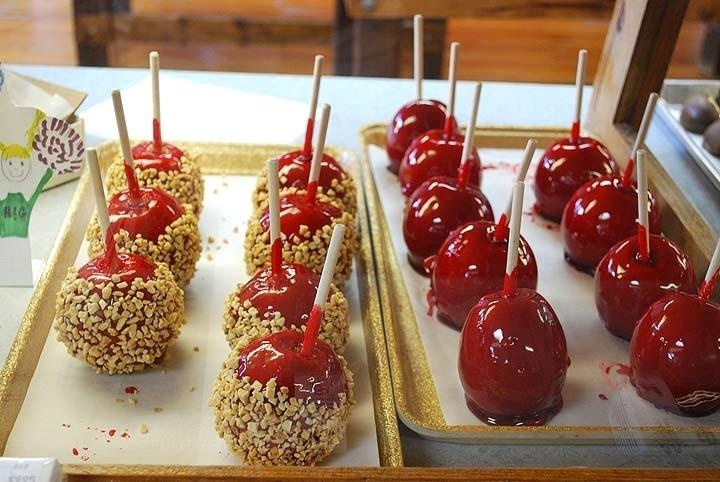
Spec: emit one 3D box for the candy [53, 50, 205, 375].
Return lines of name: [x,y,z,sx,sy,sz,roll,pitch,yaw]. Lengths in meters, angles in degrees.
candy: [-0.342,-0.044,1.017,0.174,0.344,0.331,-1,33,0]

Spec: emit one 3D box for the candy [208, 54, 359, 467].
candy: [-0.104,0.047,0.945,0.182,0.335,0.443,-1,33,-1]
